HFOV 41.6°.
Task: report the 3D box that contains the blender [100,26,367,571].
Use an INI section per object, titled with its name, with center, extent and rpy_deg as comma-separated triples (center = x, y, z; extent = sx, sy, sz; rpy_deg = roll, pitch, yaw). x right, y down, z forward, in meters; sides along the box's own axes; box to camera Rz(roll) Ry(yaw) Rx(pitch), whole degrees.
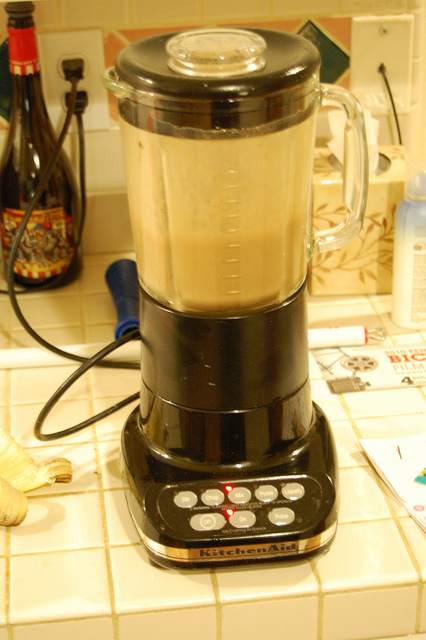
[blender]
center = 0.034, -0.015, 0.412
extent = 0.231, 0.362, 0.170
rpy_deg = -9, 24, -13

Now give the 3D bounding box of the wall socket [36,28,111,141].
[wall socket]
center = -0.189, -0.321, 0.770
extent = 0.086, 0.155, 0.018
rpy_deg = -6, -12, -10
